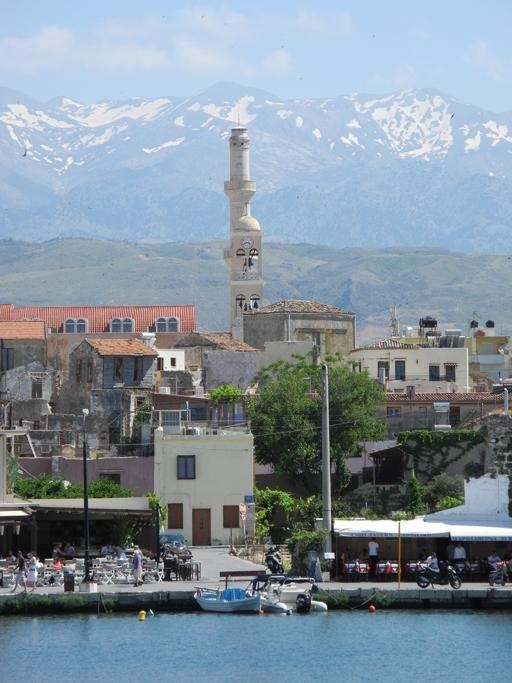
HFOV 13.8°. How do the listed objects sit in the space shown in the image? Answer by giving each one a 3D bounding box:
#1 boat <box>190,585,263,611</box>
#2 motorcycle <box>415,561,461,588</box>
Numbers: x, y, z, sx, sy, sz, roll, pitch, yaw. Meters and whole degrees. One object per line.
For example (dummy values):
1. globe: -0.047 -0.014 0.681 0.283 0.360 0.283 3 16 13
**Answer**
1. boat: -0.960 9.458 75.533 1.758 0.727 1.046 -2 1 13
2. motorcycle: 6.598 8.752 77.069 1.483 1.097 0.762 0 -3 3
